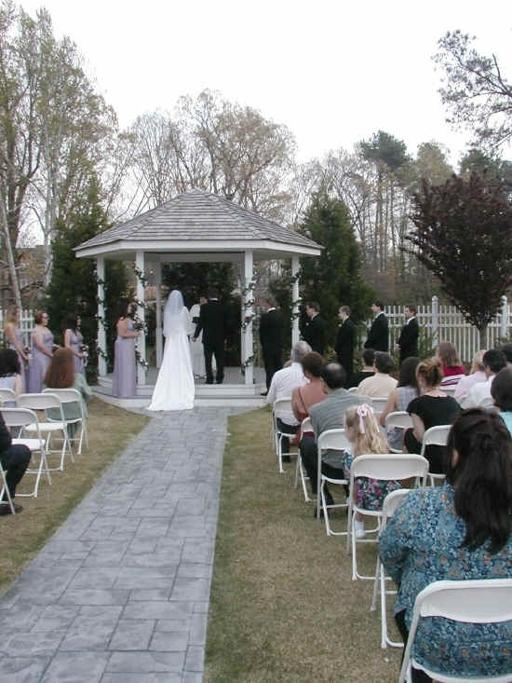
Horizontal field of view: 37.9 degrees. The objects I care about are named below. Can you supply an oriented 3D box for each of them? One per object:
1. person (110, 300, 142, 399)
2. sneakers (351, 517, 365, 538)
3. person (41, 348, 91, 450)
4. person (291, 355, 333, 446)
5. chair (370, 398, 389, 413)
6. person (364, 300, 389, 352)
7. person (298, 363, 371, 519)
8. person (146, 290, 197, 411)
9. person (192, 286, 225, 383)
[{"bbox_3d":[-2.134,0.171,12.172,0.473,1.546,1.355,0,3,-11],"label":"person"},{"bbox_3d":[0.662,1.201,4.854,0.067,0.086,0.201,0,7,1],"label":"sneakers"},{"bbox_3d":[-2.068,0.311,8.045,0.400,0.782,0.516,1,12,0],"label":"person"},{"bbox_3d":[0.462,0.561,6.632,0.357,0.934,0.517,-3,10,-16],"label":"person"},{"bbox_3d":[1.037,0.536,6.309,0.157,0.125,0.168,1,-6,7],"label":"chair"},{"bbox_3d":[1.864,-0.232,11.595,0.341,0.771,0.827,1,3,8],"label":"person"},{"bbox_3d":[0.636,0.742,5.805,0.554,1.236,0.619,-4,12,-6],"label":"person"},{"bbox_3d":[-1.339,0.174,11.801,0.655,1.811,0.385,0,3,-9],"label":"person"},{"bbox_3d":[-0.821,-0.036,12.913,0.512,1.596,1.039,0,3,-5],"label":"person"}]
